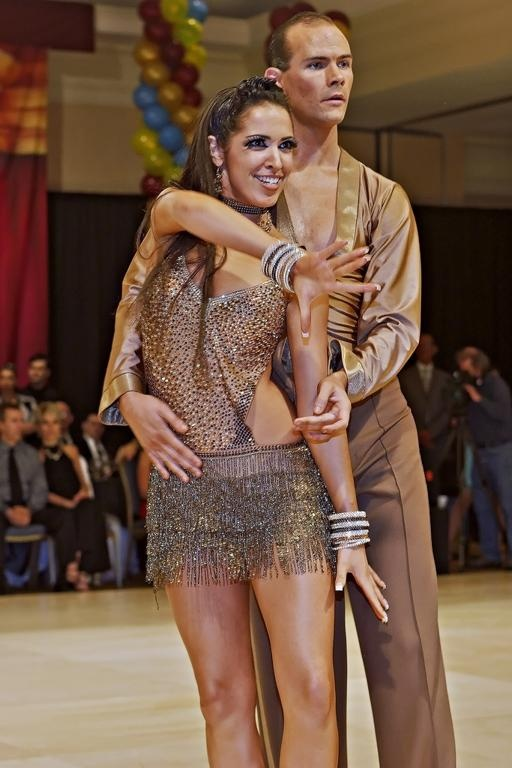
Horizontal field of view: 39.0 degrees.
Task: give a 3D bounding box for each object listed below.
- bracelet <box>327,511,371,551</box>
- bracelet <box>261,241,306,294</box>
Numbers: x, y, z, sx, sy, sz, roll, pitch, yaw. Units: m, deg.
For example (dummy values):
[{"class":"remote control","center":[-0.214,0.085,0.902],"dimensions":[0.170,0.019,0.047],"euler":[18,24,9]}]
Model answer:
[{"class":"bracelet","center":[0.141,0.220,1.106],"dimensions":[0.060,0.052,0.058],"euler":[-7,-6,1]},{"class":"bracelet","center":[0.034,-0.156,1.018],"dimensions":[0.055,0.067,0.139],"euler":[2,-8,-3]}]
